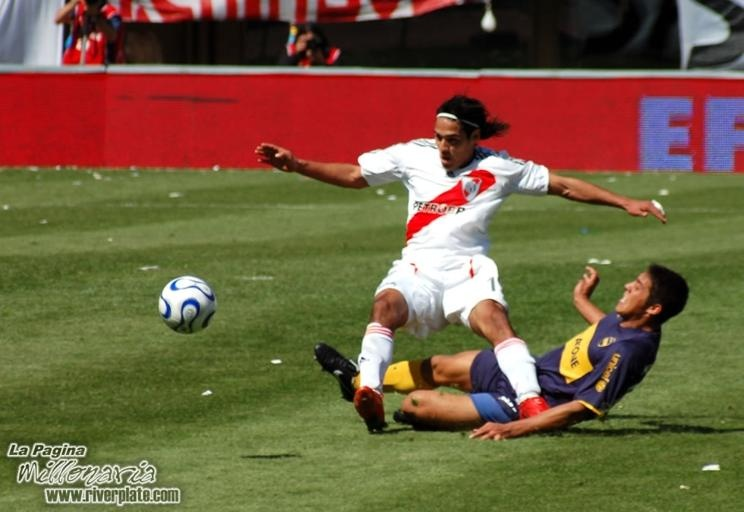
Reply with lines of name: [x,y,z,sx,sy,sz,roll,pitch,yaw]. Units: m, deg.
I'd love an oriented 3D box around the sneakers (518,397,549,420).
sneakers: [1.589,1.482,14.768,0.291,0.212,0.305,0,7,1]

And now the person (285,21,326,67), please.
person: [-1.100,-3.685,26.499,0.604,0.726,0.657,-4,8,-29]

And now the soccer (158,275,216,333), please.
soccer: [-1.858,0.529,16.062,0.625,0.548,0.601,-2,21,-46]
